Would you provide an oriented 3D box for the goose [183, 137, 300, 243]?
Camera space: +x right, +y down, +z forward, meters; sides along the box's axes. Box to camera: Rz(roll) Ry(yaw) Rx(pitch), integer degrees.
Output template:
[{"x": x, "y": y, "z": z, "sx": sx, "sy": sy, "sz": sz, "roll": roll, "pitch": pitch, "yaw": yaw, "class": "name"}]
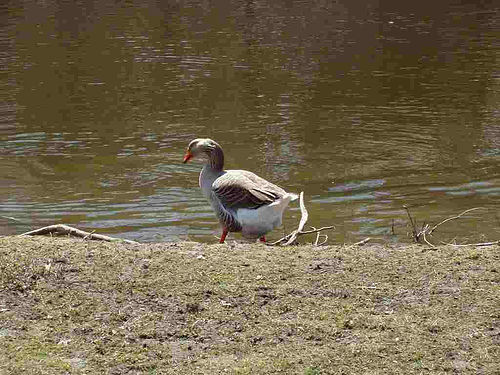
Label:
[{"x": -0.121, "y": 0.054, "z": 11.229, "sx": 1.723, "sy": 1.614, "sz": 0.610, "roll": 2, "pitch": 7, "yaw": 6, "class": "goose"}]
